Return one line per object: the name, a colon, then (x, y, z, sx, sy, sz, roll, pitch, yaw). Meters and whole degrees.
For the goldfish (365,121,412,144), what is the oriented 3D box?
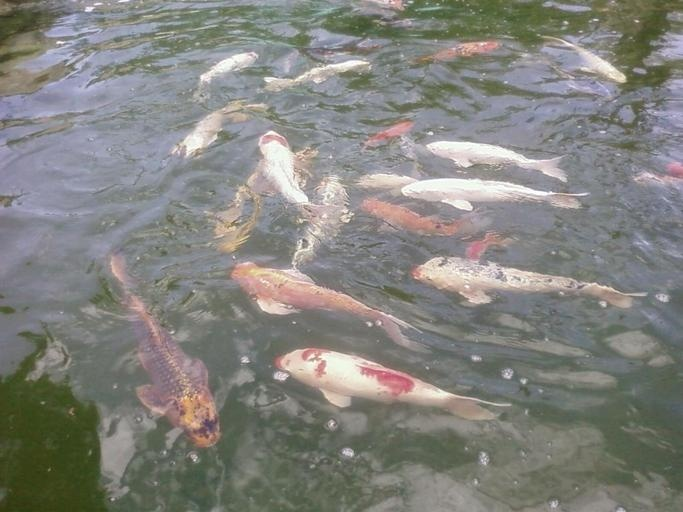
goldfish: (0.786, -2.080, 13.002, 0.856, 0.125, 0.287, -18, 26, -11)
